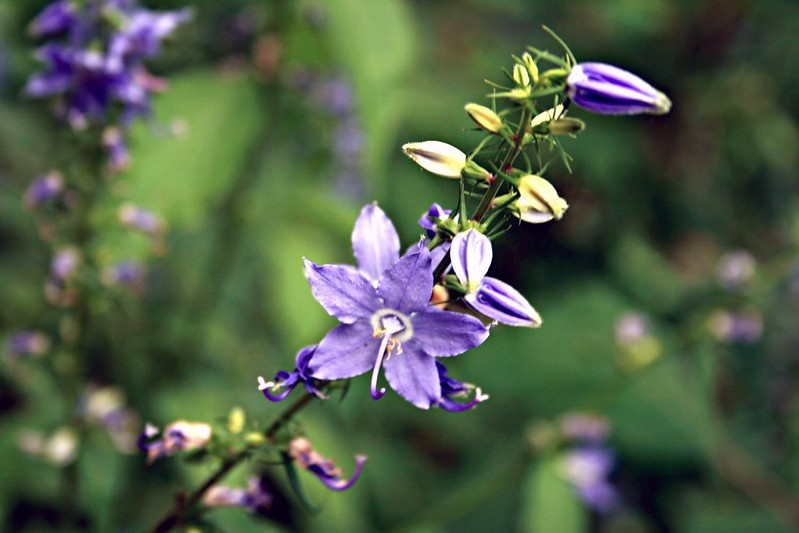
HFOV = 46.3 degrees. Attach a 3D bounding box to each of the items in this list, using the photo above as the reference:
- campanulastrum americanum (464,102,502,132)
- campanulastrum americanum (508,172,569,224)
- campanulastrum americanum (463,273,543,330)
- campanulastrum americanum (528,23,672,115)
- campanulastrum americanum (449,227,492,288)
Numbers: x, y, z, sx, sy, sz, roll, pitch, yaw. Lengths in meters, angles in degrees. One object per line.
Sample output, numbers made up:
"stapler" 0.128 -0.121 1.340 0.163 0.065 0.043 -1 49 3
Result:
"campanulastrum americanum" 0.583 -1.046 6.553 0.271 0.135 0.145 36 40 4
"campanulastrum americanum" 0.969 -0.394 6.605 0.144 0.379 0.359 54 39 -7
"campanulastrum americanum" 0.717 0.268 6.577 0.550 0.148 0.289 31 84 -7
"campanulastrum americanum" 1.360 -1.232 6.475 1.036 0.408 0.410 28 53 11
"campanulastrum americanum" 0.487 -0.023 6.478 0.280 0.305 0.353 0 54 2
